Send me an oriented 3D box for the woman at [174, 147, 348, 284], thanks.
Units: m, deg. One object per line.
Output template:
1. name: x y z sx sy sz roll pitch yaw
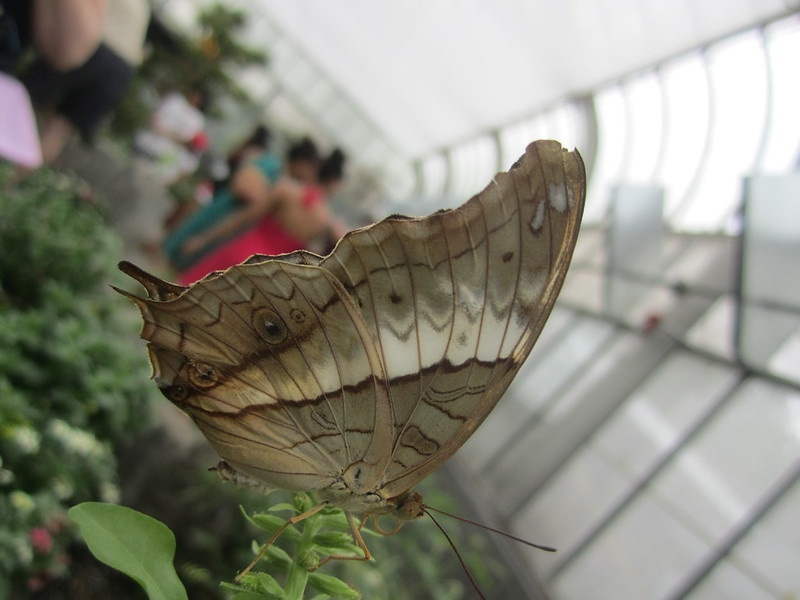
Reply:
1. woman: -0.648 -0.449 5.307 0.656 0.569 0.358 -2 69 -66

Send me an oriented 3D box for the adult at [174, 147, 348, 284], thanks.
1. adult: -0.665 -0.523 5.308 0.656 0.569 0.358 -2 69 -66
